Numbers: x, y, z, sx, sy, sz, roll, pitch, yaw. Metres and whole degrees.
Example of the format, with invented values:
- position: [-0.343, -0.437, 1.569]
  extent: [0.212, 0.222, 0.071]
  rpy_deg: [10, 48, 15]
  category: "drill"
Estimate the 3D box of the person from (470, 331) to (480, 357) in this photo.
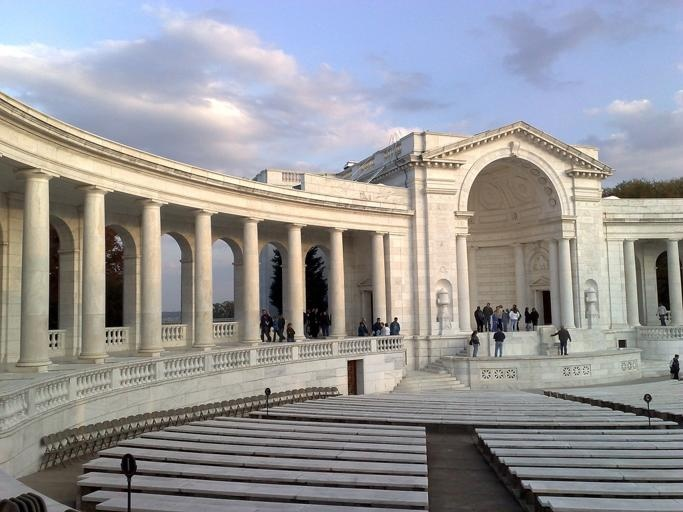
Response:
- position: [8.214, 5.411, 40.680]
  extent: [0.557, 1.540, 1.353]
  rpy_deg: [-3, -8, 12]
  category: "person"

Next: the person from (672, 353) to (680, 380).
- position: [19.468, 6.505, 38.646]
  extent: [0.435, 1.331, 1.455]
  rpy_deg: [-4, -8, 22]
  category: "person"

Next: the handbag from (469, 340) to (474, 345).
- position: [7.940, 5.311, 40.456]
  extent: [0.090, 0.245, 0.428]
  rpy_deg: [0, -8, -11]
  category: "handbag"
